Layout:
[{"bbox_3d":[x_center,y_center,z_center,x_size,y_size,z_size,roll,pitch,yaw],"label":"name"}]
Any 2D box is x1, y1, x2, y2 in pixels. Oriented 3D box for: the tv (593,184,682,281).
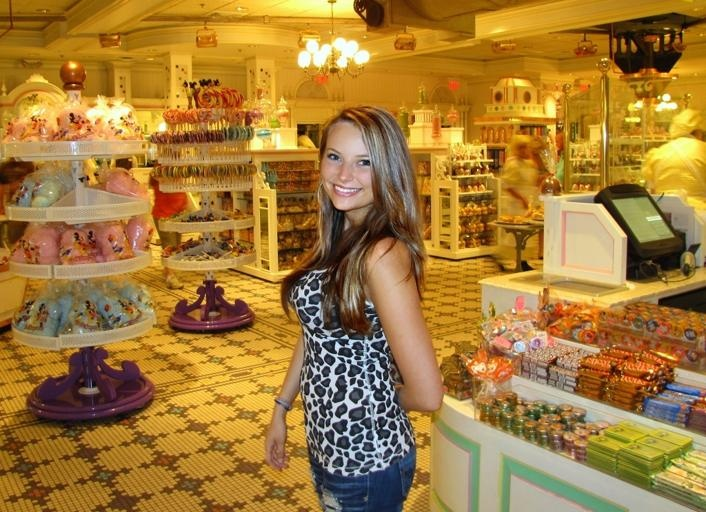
[{"bbox_3d":[1.774,-0.150,3.041,0.664,0.571,0.304,-11,16,-38],"label":"tv"}]
